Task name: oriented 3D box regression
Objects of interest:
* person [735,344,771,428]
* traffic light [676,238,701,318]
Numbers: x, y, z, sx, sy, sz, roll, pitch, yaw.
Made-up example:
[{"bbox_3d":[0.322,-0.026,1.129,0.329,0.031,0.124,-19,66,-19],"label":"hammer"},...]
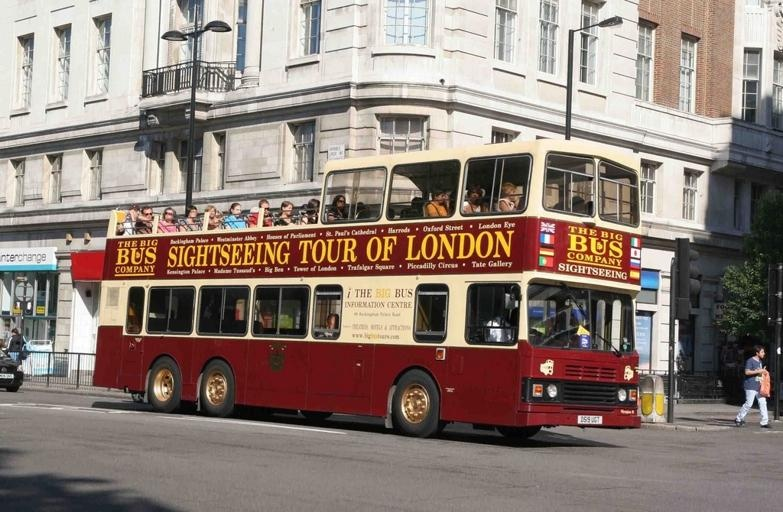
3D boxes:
[{"bbox_3d":[11.460,4.163,37.417,0.950,2.607,1.438,-3,-8,18],"label":"person"},{"bbox_3d":[8.600,0.634,34.291,0.708,2.387,0.890,-3,-8,13],"label":"traffic light"}]
